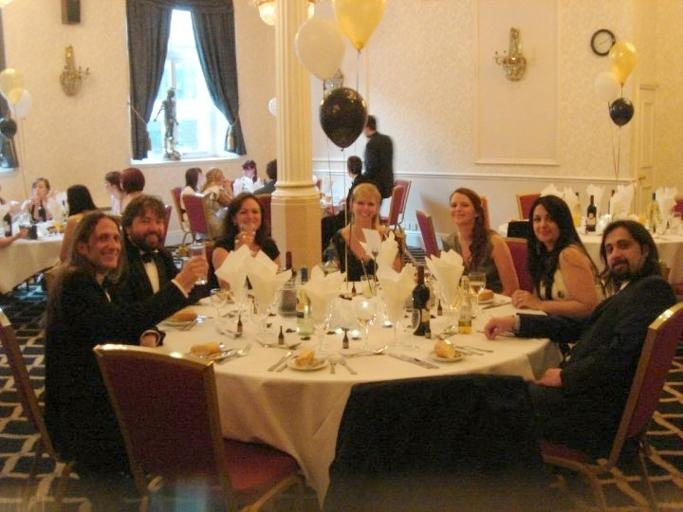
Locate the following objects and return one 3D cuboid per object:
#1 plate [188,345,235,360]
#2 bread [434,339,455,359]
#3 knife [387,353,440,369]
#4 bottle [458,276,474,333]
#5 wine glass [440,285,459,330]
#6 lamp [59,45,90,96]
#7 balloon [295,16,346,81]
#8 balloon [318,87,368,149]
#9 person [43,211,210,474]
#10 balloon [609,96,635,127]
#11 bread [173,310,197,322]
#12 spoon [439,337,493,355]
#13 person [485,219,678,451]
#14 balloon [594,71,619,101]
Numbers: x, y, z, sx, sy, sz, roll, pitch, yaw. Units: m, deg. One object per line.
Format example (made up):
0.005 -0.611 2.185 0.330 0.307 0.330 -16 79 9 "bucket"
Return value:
-0.544 0.414 2.549 0.134 0.024 0.085 2 -1 -30 "plate"
0.444 0.392 2.515 0.059 0.046 0.080 -1 9 -8 "bread"
0.299 0.433 2.493 0.245 0.006 0.063 11 18 40 "knife"
0.609 0.234 2.927 0.065 0.219 0.296 -1 10 12 "bottle"
0.551 0.217 3.036 0.102 0.199 0.402 -2 10 10 "wine glass"
-3.666 -2.518 8.196 0.114 0.660 0.399 6 14 42 "lamp"
-0.123 -1.498 4.322 0.384 0.444 0.382 -6 3 -36 "balloon"
0.014 -0.875 3.870 0.328 0.410 0.329 -4 5 -31 "balloon"
-1.008 0.346 2.628 0.475 1.060 0.555 3 12 31 "person"
3.155 -1.617 6.689 0.196 0.297 0.259 5 13 39 "balloon"
-0.790 0.302 3.020 0.066 0.030 0.069 -2 0 23 "bread"
0.543 0.390 2.633 0.080 0.036 0.264 -25 14 -40 "spoon"
1.109 0.317 2.597 0.669 0.886 0.612 -3 10 1 "person"
3.062 -1.936 6.921 0.290 0.363 0.296 -6 9 12 "balloon"
